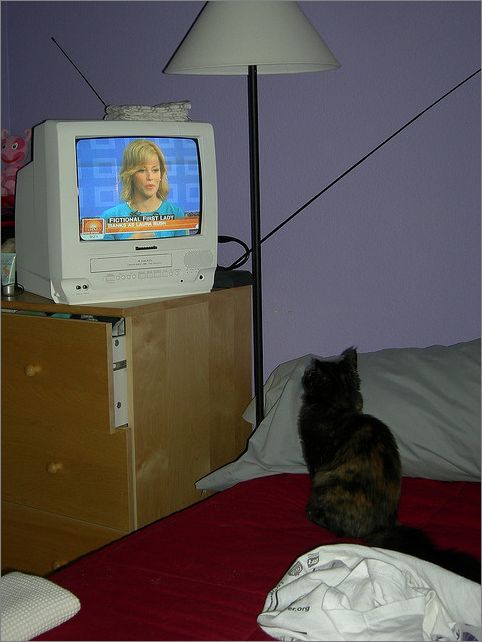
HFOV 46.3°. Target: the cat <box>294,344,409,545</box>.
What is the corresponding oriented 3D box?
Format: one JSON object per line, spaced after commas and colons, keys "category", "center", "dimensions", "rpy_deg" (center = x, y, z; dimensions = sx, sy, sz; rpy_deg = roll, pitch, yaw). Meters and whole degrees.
{"category": "cat", "center": [0.181, 0.230, 1.106], "dimensions": [0.118, 0.190, 0.383], "rpy_deg": [5, 48, -22]}
